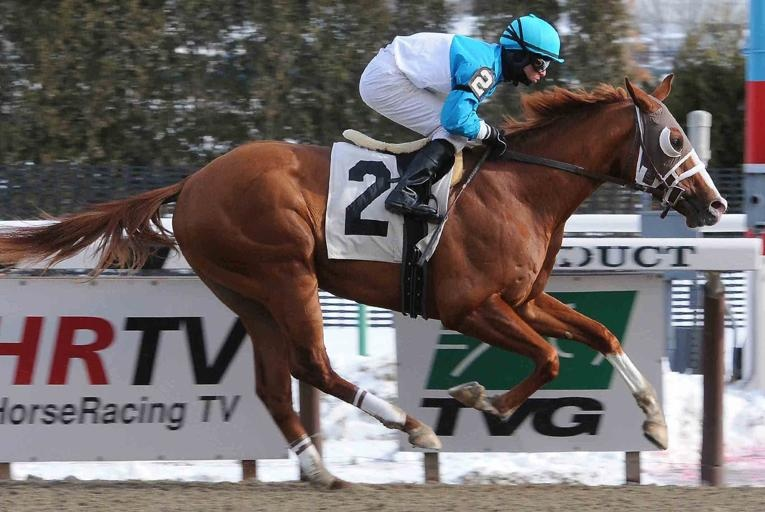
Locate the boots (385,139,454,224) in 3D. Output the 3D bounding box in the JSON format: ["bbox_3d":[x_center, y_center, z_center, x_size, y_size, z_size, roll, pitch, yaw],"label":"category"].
[{"bbox_3d":[0.300,-0.559,11.246,0.512,0.578,0.220,-9,13,-32],"label":"boots"}]

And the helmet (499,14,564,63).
[{"bbox_3d":[1.155,-1.651,11.526,0.552,0.227,0.345,15,4,18],"label":"helmet"}]

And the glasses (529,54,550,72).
[{"bbox_3d":[1.181,-1.454,11.486,0.133,0.108,0.072,-3,-6,0],"label":"glasses"}]

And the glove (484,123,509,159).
[{"bbox_3d":[0.854,-0.857,11.389,0.104,0.236,0.200,-35,56,-27],"label":"glove"}]
